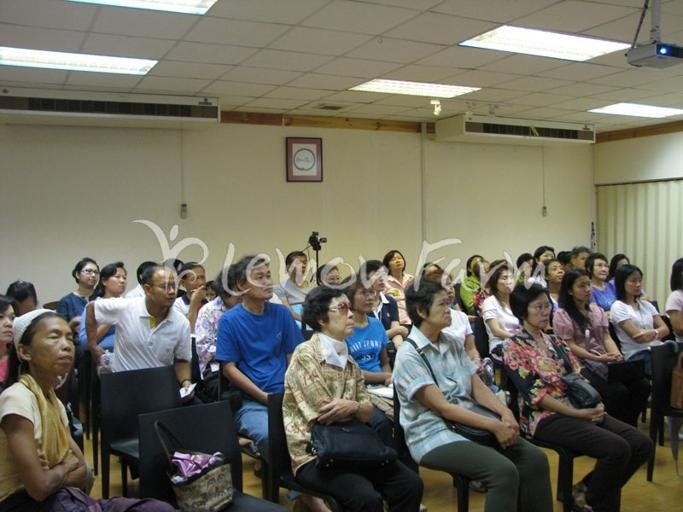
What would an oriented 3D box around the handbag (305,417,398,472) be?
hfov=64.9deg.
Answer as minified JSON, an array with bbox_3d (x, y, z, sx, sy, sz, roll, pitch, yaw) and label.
[{"bbox_3d":[0.046,0.959,2.722,0.274,0.101,0.287,1,8,-23],"label":"handbag"}]

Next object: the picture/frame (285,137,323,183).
[{"bbox_3d":[-0.556,-1.337,7.456,0.562,0.688,0.025,-2,3,-15],"label":"picture/frame"}]

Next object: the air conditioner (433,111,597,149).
[{"bbox_3d":[2.599,-1.898,8.195,2.358,0.324,0.696,-2,2,-22],"label":"air conditioner"}]

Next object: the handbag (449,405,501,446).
[{"bbox_3d":[0.747,0.946,2.927,0.200,0.065,0.201,1,5,-36],"label":"handbag"}]

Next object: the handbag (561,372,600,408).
[{"bbox_3d":[1.439,0.851,3.272,0.205,0.088,0.168,26,22,39],"label":"handbag"}]

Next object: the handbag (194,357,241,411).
[{"bbox_3d":[-0.813,0.812,3.600,0.304,0.350,0.335,-1,-5,30],"label":"handbag"}]
